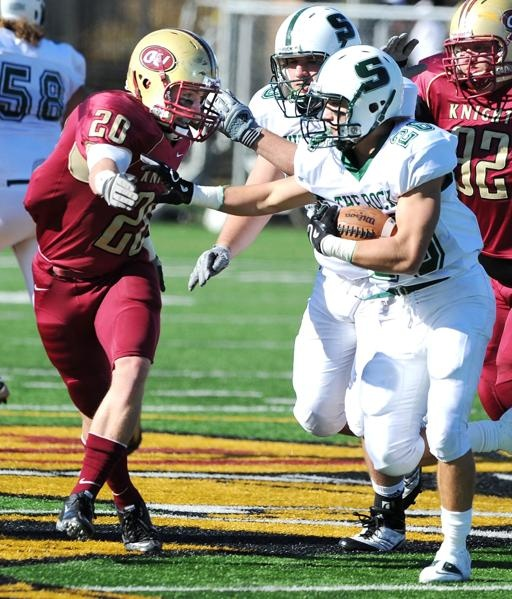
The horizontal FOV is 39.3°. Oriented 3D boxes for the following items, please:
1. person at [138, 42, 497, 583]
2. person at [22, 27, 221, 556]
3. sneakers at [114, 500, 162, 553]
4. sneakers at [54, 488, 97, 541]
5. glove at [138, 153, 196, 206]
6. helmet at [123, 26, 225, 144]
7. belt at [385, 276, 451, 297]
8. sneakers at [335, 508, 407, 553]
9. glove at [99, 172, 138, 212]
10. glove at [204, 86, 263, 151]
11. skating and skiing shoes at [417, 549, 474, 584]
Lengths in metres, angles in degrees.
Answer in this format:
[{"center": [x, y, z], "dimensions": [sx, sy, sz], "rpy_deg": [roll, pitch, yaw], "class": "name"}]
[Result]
[{"center": [0.139, 0.116, 2.211], "dimensions": [1.138, 1.612, 0.786], "rpy_deg": [4, 12, 5], "class": "person"}, {"center": [-0.371, 0.034, 2.098], "dimensions": [0.623, 1.518, 0.695], "rpy_deg": [-5, 36, -16], "class": "person"}, {"center": [-0.315, 0.603, 1.922], "dimensions": [0.072, 0.066, 0.174], "rpy_deg": [-14, 18, -17], "class": "sneakers"}, {"center": [-0.422, 0.524, 1.704], "dimensions": [0.081, 0.099, 0.118], "rpy_deg": [5, -2, 4], "class": "sneakers"}, {"center": [-0.261, -0.333, 2.040], "dimensions": [0.136, 0.107, 0.073], "rpy_deg": [1, 26, 10], "class": "glove"}, {"center": [-0.270, -0.656, 2.170], "dimensions": [0.354, 0.245, 0.225], "rpy_deg": [15, 17, 2], "class": "helmet"}, {"center": [0.429, -0.033, 1.981], "dimensions": [0.068, 0.019, 0.095], "rpy_deg": [-25, -13, 40], "class": "belt"}, {"center": [0.370, 0.700, 2.165], "dimensions": [0.256, 0.087, 0.087], "rpy_deg": [4, -5, -37], "class": "sneakers"}, {"center": [-0.325, -0.257, 1.710], "dimensions": [0.111, 0.083, 0.135], "rpy_deg": [-5, 20, -16], "class": "glove"}, {"center": [-0.100, -0.607, 2.388], "dimensions": [0.241, 0.138, 0.114], "rpy_deg": [38, 57, 12], "class": "glove"}, {"center": [0.463, 0.653, 1.751], "dimensions": [0.164, 0.043, 0.074], "rpy_deg": [5, -2, -43], "class": "skating and skiing shoes"}]
